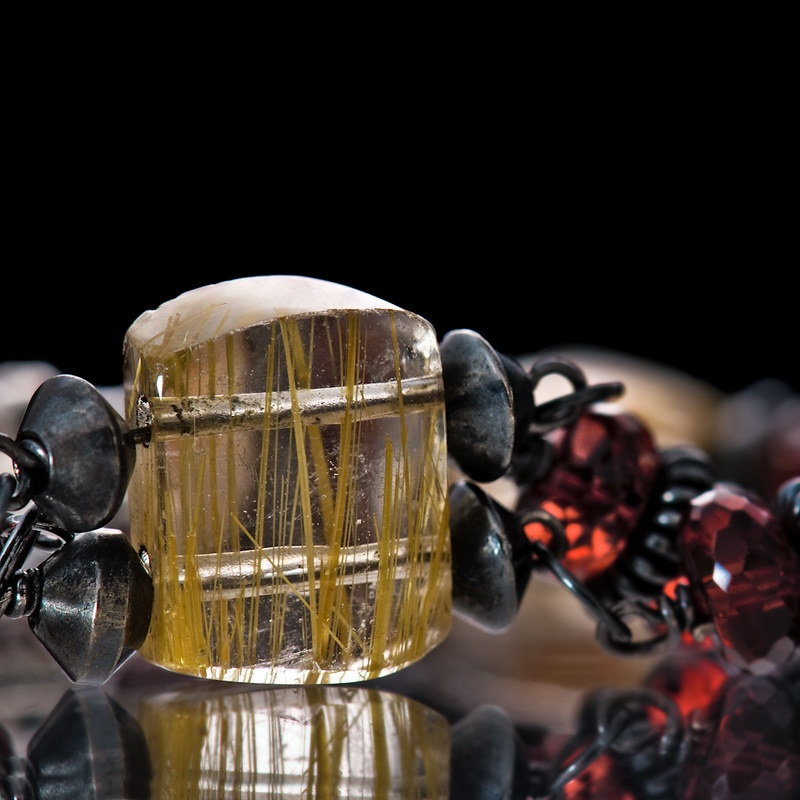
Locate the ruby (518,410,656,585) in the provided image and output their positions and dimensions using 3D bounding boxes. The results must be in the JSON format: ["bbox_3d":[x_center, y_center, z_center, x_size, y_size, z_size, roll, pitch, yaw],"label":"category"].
[{"bbox_3d":[0.116,0.061,0.852,0.068,0.109,0.035,25,-8,-16],"label":"ruby"}]

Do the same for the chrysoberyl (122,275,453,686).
[{"bbox_3d":[-0.079,0.024,0.790,0.154,0.235,0.159,4,15,39],"label":"chrysoberyl"}]
